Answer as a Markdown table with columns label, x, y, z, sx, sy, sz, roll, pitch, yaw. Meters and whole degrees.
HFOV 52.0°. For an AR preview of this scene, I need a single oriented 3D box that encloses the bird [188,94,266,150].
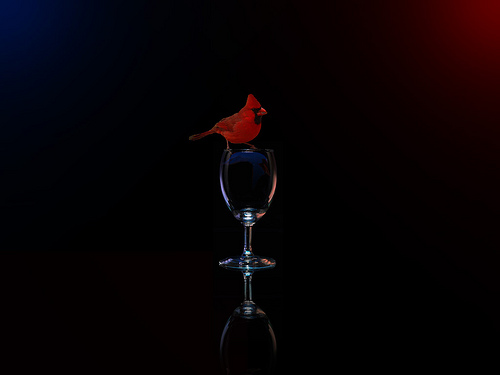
| label | x | y | z | sx | sy | sz | roll | pitch | yaw |
| --- | --- | --- | --- | --- | --- | --- | --- | --- | --- |
| bird | -0.061 | -0.169 | 1.313 | 0.183 | 0.074 | 0.139 | 3 | 103 | 12 |
